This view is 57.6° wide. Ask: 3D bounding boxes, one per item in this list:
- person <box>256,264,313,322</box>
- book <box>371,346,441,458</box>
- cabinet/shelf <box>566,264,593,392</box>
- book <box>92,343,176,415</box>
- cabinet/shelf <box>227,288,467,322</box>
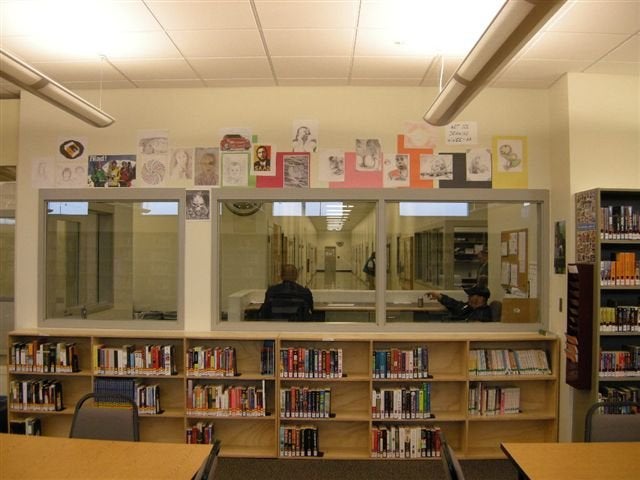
[{"bbox_3d":[-0.386,0.754,6.973,0.718,0.912,0.510,5,11,-2],"label":"person"},{"bbox_3d":[0.925,1.804,6.448,0.748,1.223,0.324,-1,-1,2],"label":"book"},{"bbox_3d":[2.726,0.914,6.154,0.133,1.056,0.342,-1,-1,-32],"label":"cabinet/shelf"},{"bbox_3d":[-2.051,1.533,6.389,0.813,0.718,0.286,0,-3,0],"label":"book"},{"bbox_3d":[0.269,0.834,6.769,2.455,0.477,0.433,0,2,-8],"label":"cabinet/shelf"}]
